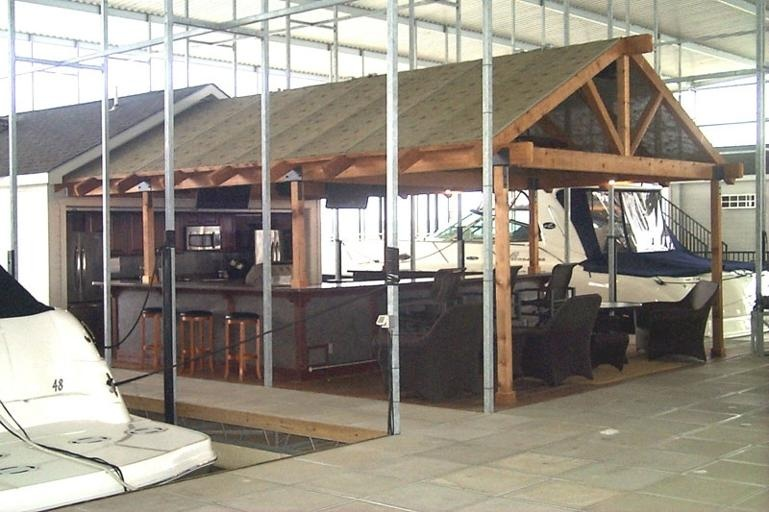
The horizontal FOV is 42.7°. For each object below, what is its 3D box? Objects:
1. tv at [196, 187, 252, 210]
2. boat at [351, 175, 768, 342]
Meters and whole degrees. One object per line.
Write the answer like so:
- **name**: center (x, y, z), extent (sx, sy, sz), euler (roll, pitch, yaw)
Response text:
- **tv**: center (-3.116, -1.127, 18.889), extent (1.017, 0.283, 1.813), euler (-4, -2, -11)
- **boat**: center (4.438, -0.143, 20.535), extent (9.685, 3.469, 3.216), euler (2, 2, 34)
